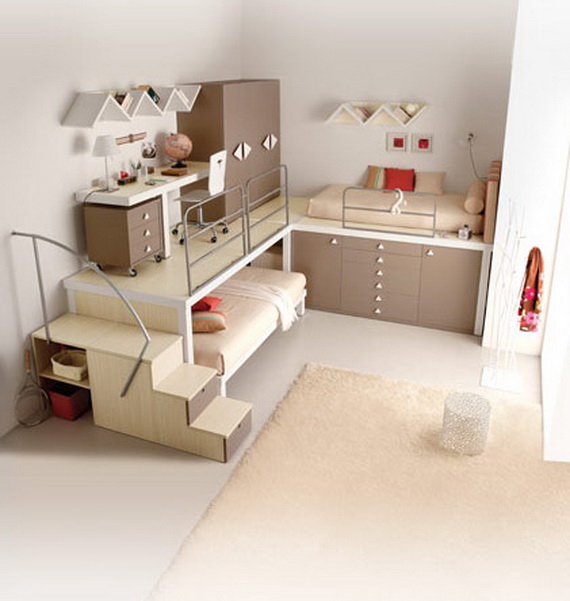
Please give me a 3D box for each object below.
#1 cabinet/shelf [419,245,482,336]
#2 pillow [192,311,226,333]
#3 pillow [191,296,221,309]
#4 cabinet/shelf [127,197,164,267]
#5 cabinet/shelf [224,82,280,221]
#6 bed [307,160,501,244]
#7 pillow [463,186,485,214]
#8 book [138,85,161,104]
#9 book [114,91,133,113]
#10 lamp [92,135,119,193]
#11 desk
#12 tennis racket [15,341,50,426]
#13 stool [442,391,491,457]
[{"bbox_3d":[1.584,-0.134,5.340,0.799,1.112,0.736,4,8,14],"label":"cabinet/shelf"},{"bbox_3d":[-0.596,0.174,3.973,0.255,0.150,0.162,-3,20,-3],"label":"pillow"},{"bbox_3d":[-0.640,0.027,4.087,0.118,0.036,0.123,1,21,18],"label":"pillow"},{"bbox_3d":[-1.080,-0.545,3.935,0.267,0.365,0.452,7,23,12],"label":"cabinet/shelf"},{"bbox_3d":[-0.365,-1.571,5.367,0.443,1.294,1.517,5,21,15],"label":"cabinet/shelf"},{"bbox_3d":[1.253,-0.983,5.340,1.395,0.496,1.011,8,28,13],"label":"bed"},{"bbox_3d":[1.863,-0.985,5.020,0.180,0.255,0.309,6,21,20],"label":"pillow"},{"bbox_3d":[-1.152,-1.707,4.320,0.191,0.045,0.177,37,28,7],"label":"book"},{"bbox_3d":[-1.255,-1.534,3.968,0.132,0.136,0.183,-4,20,-8],"label":"book"},{"bbox_3d":[-1.370,-1.058,3.940,0.170,0.396,0.417,-7,20,-16],"label":"lamp"},{"bbox_3d":[-1.159,-0.737,4.109,0.338,0.391,1.027,8,26,14],"label":"desk"},{"bbox_3d":[-1.827,0.587,3.697,0.251,0.508,0.191,-4,-2,7],"label":"tennis racket"},{"bbox_3d":[1.150,0.798,3.477,0.336,0.351,0.359,3,24,8],"label":"stool"}]
